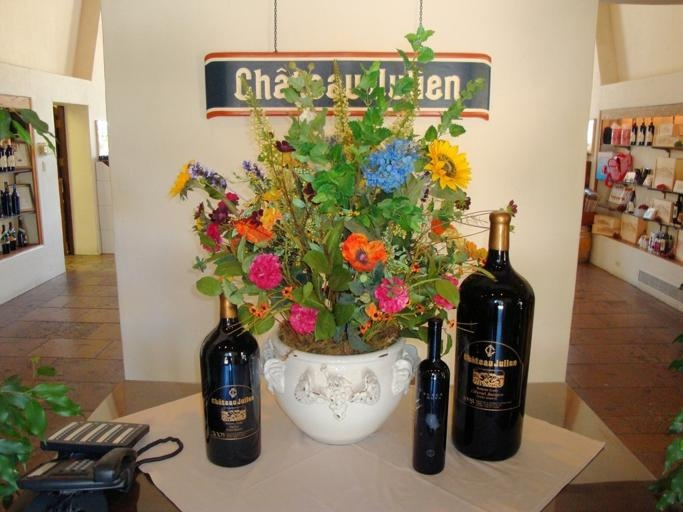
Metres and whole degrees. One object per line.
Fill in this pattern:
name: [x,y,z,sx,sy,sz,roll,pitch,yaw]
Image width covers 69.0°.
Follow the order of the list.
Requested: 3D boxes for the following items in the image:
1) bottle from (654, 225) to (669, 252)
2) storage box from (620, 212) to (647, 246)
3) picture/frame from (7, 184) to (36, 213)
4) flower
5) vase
bottle: [3.950,-0.169,6.135,0.129,0.251,0.218,4,9,19]
storage box: [3.987,-0.371,6.761,0.218,0.398,0.421,5,6,-4]
picture/frame: [-4.012,-0.731,6.199,0.040,0.407,0.373,-6,1,21]
flower: [0.036,-0.006,1.395,0.886,0.952,0.762,0,6,-4]
vase: [-0.016,0.340,1.324,0.409,0.269,0.372,1,5,2]
